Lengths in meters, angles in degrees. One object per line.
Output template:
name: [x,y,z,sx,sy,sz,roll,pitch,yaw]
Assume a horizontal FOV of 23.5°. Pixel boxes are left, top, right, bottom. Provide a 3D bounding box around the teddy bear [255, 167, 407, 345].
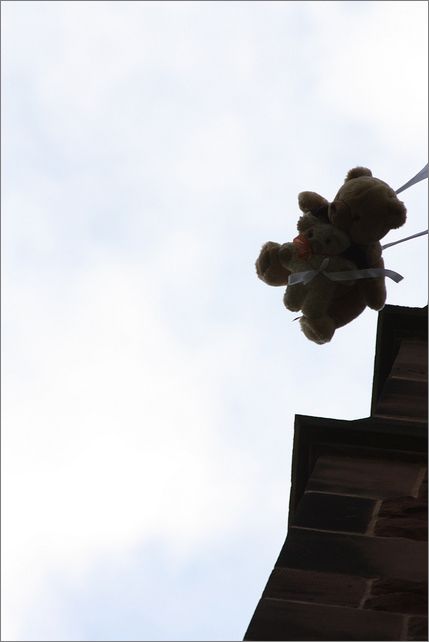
teddy bear: [0.984,-0.576,7.886,0.854,1.187,1.276,-7,-42,-20]
